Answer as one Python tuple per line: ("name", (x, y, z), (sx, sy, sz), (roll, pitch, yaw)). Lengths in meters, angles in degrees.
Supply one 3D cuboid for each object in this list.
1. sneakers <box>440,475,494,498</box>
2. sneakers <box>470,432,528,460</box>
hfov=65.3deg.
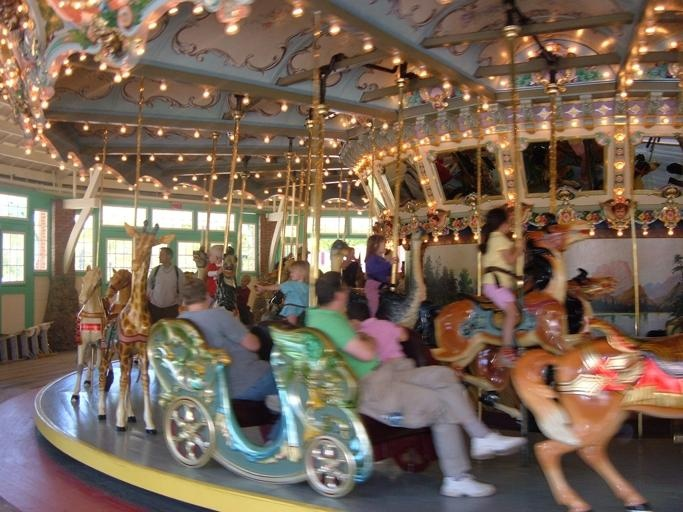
("sneakers", (0.869, 1.572, 3.625), (0.309, 0.094, 0.152), (-2, -7, 4))
("sneakers", (1.114, 1.289, 3.642), (0.472, 0.153, 0.142), (-9, -8, 4))
